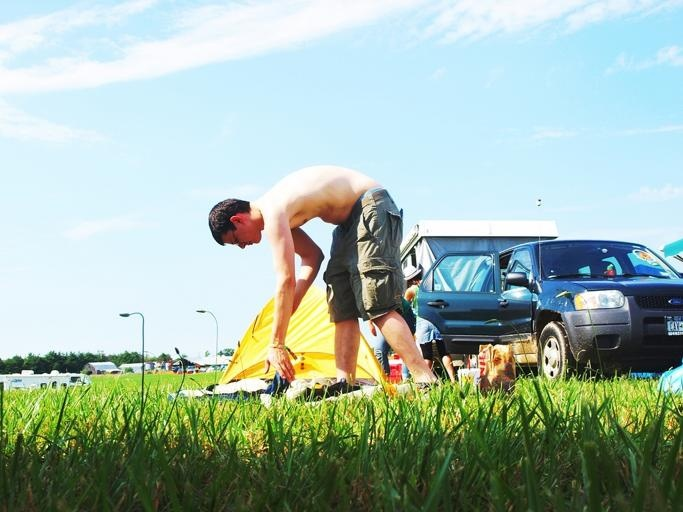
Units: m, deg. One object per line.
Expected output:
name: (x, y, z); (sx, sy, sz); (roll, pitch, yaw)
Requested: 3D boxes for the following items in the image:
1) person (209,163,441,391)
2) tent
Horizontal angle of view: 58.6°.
person: (-0.097, 0.190, 4.210); (1.448, 1.665, 0.772); (-2, -6, -4)
tent: (-0.538, 0.960, 6.810); (1.517, 1.192, 1.556); (-1, -6, 8)
